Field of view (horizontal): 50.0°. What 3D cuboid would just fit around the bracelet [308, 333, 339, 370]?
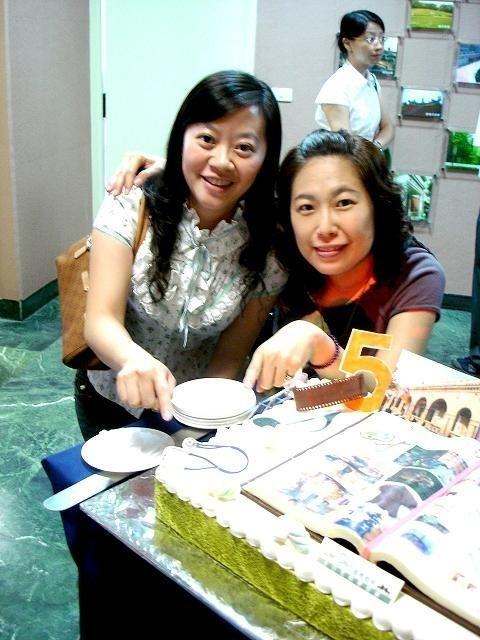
[{"bbox_3d":[0.195,0.076,1.164,0.067,0.078,0.032,-7,-40,36],"label":"bracelet"}]

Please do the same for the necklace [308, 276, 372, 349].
[{"bbox_3d":[0.266,-0.023,1.374,0.125,0.172,0.043,38,13,36],"label":"necklace"}]

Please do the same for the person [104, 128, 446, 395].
[{"bbox_3d":[0.230,-0.091,1.290,0.548,0.708,0.726,-3,10,12],"label":"person"}]

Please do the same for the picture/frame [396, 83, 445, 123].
[{"bbox_3d":[1.278,-1.543,3.613,0.300,0.200,0.014,5,37,7],"label":"picture/frame"}]
